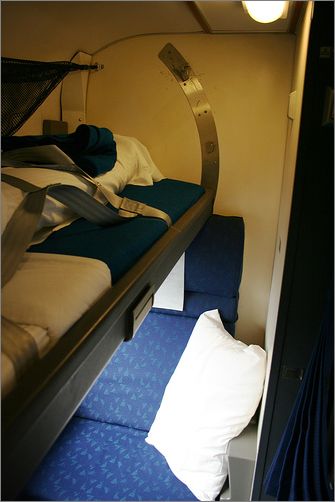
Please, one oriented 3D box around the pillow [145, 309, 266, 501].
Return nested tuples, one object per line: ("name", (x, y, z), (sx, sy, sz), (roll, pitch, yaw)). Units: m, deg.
("pillow", (0.166, 0.683, 1.599), (0.194, 0.698, 0.543), (18, 2, -29))
